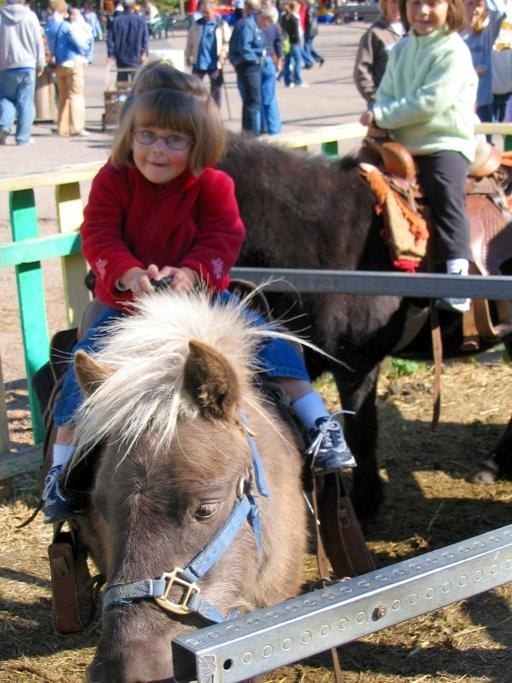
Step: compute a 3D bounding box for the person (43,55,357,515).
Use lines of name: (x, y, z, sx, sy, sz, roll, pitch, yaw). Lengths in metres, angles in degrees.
person: (-0.169, -0.313, 1.942, 0.578, 1.422, 0.565, -4, 17, -20)
